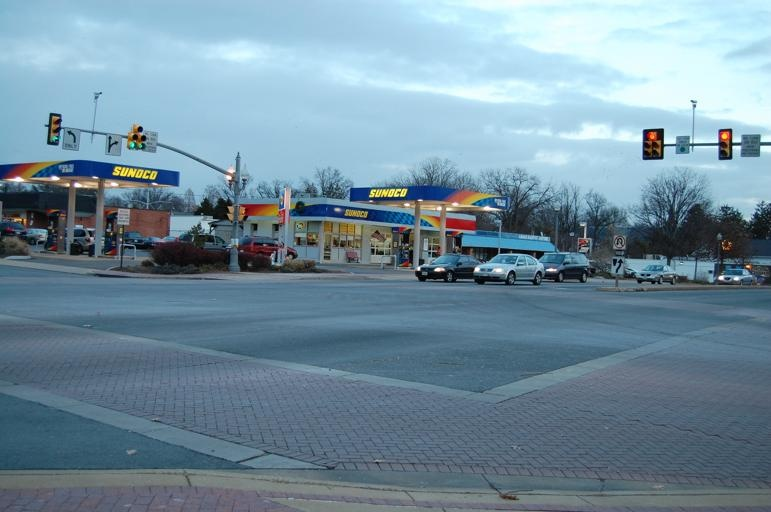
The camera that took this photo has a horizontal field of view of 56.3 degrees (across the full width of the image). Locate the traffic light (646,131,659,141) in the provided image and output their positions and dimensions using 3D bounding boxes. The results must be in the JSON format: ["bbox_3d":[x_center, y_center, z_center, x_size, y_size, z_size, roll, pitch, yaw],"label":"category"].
[{"bbox_3d":[10.250,-4.618,27.806,0.433,0.350,0.216,-3,-6,41],"label":"traffic light"}]

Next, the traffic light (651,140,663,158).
[{"bbox_3d":[10.462,-4.103,27.786,0.309,0.695,0.268,9,11,31],"label":"traffic light"}]

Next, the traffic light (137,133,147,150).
[{"bbox_3d":[-11.108,-5.162,32.744,0.231,0.714,0.588,3,9,0],"label":"traffic light"}]

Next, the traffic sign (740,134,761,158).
[{"bbox_3d":[13.758,-4.156,27.234,0.660,0.800,0.978,7,9,23],"label":"traffic sign"}]

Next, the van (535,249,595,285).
[{"bbox_3d":[12.133,0.852,48.567,3.456,2.487,7.678,-1,-2,34],"label":"van"}]

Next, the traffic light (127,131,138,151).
[{"bbox_3d":[-11.481,-5.180,32.519,0.447,0.736,0.242,0,10,-16],"label":"traffic light"}]

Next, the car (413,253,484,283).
[{"bbox_3d":[3.376,0.745,40.013,4.568,1.343,1.840,0,0,-42],"label":"car"}]

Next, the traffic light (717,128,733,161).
[{"bbox_3d":[13.058,-4.287,27.762,0.503,1.126,0.266,5,10,8],"label":"traffic light"}]

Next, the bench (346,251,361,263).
[{"bbox_3d":[-3.018,0.115,63.319,0.534,0.736,1.282,-1,-3,43],"label":"bench"}]
